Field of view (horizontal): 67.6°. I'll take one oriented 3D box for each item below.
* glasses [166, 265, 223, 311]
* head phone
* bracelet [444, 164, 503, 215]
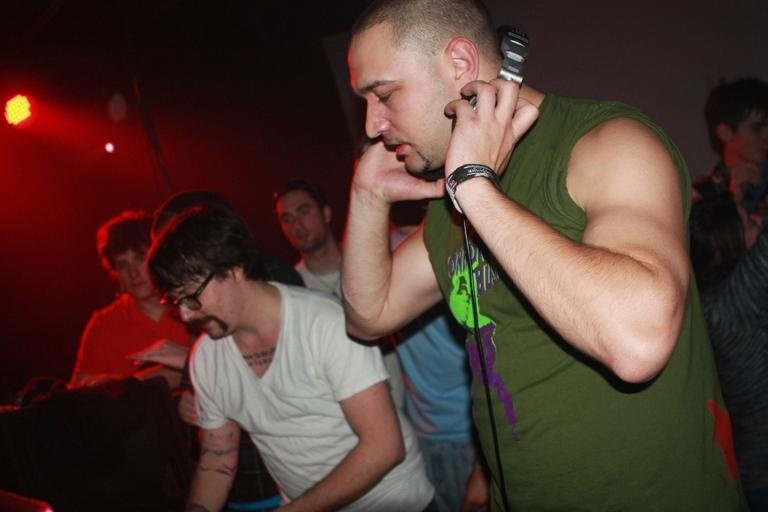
[{"bbox_3d":[-1.050,0.201,3.240,0.229,0.072,0.244,-19,27,55],"label":"glasses"},{"bbox_3d":[0.499,-0.821,2.540,0.274,0.451,0.407,-1,30,-20],"label":"head phone"},{"bbox_3d":[0.321,-0.292,2.259,0.189,0.197,0.077,-12,20,5],"label":"bracelet"}]
